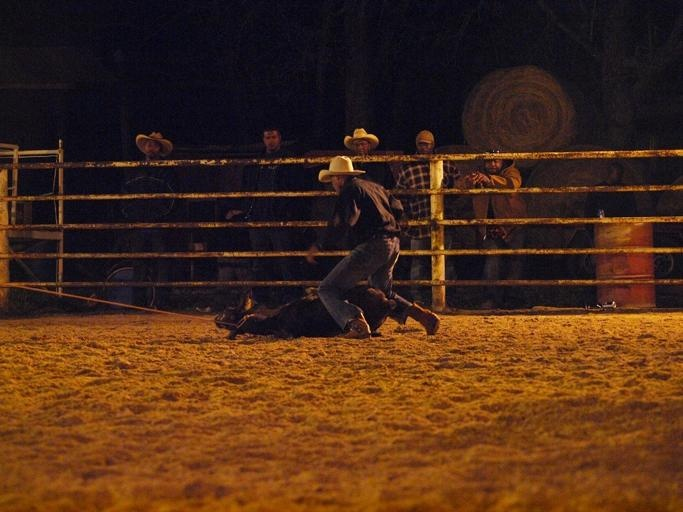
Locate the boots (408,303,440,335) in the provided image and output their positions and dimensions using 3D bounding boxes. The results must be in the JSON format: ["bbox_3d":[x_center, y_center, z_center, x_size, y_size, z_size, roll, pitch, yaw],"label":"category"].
[{"bbox_3d":[1.097,0.835,14.327,0.256,0.212,0.603,-6,28,-31],"label":"boots"}]

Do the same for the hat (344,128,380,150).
[{"bbox_3d":[0.280,-1.873,16.762,0.450,0.181,0.481,-2,-17,3],"label":"hat"}]

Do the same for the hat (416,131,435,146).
[{"bbox_3d":[1.300,-1.864,17.098,0.278,0.198,0.388,-2,-12,13],"label":"hat"}]

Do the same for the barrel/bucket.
[{"bbox_3d":[4.229,0.123,16.304,0.908,1.280,0.862,2,-1,0],"label":"barrel/bucket"}]

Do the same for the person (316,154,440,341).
[{"bbox_3d":[0.341,-0.151,14.497,1.357,2.415,0.976,3,-1,-22],"label":"person"}]

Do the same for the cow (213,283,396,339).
[{"bbox_3d":[-0.495,0.777,14.616,2.309,0.769,1.046,-1,14,-2],"label":"cow"}]
